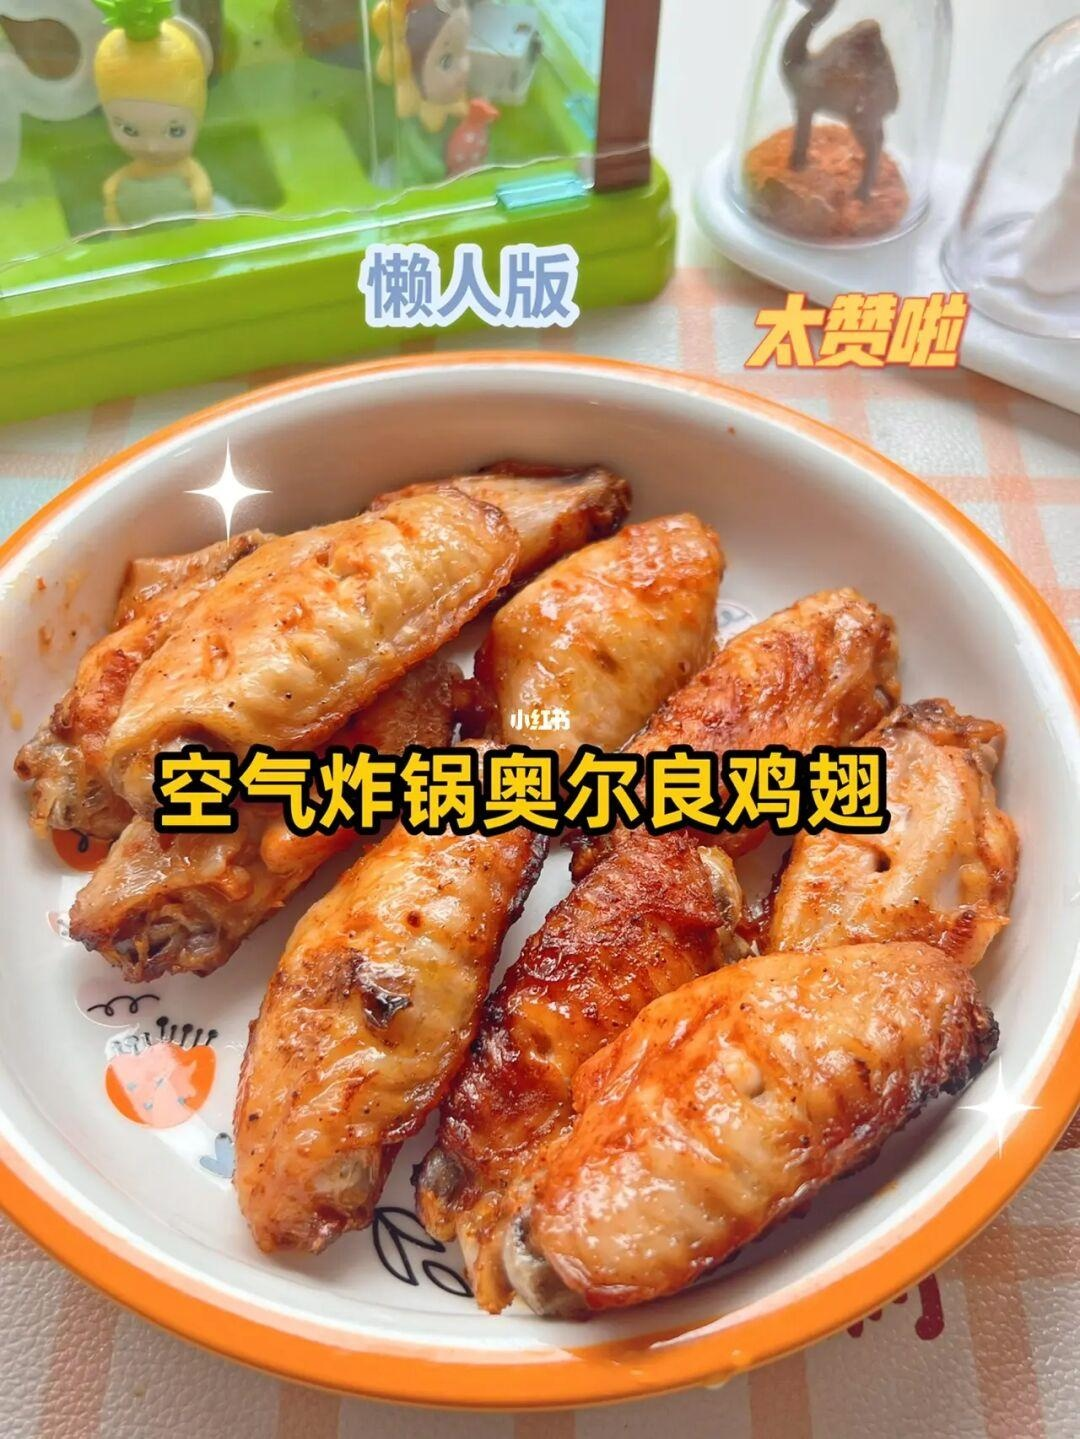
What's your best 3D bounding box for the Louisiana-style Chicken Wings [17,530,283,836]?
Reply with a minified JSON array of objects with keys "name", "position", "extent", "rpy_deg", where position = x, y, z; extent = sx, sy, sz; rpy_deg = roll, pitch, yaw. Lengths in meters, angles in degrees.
[{"name":"Louisiana-style Chicken Wings","position":[-0.433,-0.056,1.353],"extent":[0.235,0.097,0.355],"rpy_deg":[29,72,28]}]
